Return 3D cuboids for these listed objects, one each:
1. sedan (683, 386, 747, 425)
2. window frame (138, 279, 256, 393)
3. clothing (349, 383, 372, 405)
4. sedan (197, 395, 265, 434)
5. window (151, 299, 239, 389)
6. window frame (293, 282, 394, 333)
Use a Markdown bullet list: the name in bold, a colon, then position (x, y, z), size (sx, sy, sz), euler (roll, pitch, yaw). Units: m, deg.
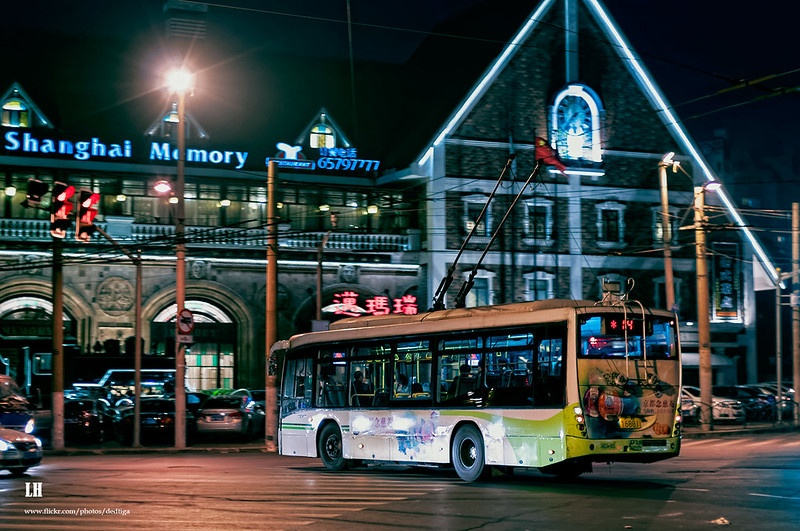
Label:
- **sedan**: position (15.844, 7.209, 61.195), size (2.857, 1.709, 2.631), euler (0, 2, 8)
- **window frame**: position (-10.871, 3.651, 63.591), size (7.773, 6.793, 0.511), euler (0, -3, -17)
- **clothing**: position (-1.398, 4.606, 42.721), size (0.240, 0.719, 0.896), euler (1, -3, -42)
- **sedan**: position (-8.000, 6.508, 55.238), size (2.538, 1.444, 5.196), euler (1, 4, -2)
- **window**: position (-10.953, 4.054, 63.426), size (6.376, 5.561, 0.300), euler (1, -2, -18)
- **window frame**: position (-2.533, 1.886, 66.201), size (5.736, 2.897, 0.357), euler (2, 22, 36)
